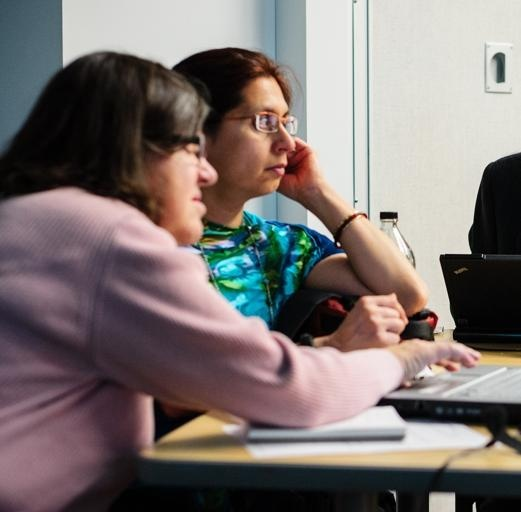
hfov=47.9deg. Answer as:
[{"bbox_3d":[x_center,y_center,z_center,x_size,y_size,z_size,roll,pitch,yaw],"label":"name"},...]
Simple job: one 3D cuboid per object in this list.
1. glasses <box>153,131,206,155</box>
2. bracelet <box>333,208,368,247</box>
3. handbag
[{"bbox_3d":[-0.114,-0.170,0.846,0.040,0.021,0.055,2,17,41],"label":"glasses"},{"bbox_3d":[0.244,-0.074,1.670,0.026,0.095,0.104,31,43,25],"label":"bracelet"},{"bbox_3d":[0.226,0.136,1.402,0.252,0.170,0.235,-6,-16,27],"label":"handbag"}]
